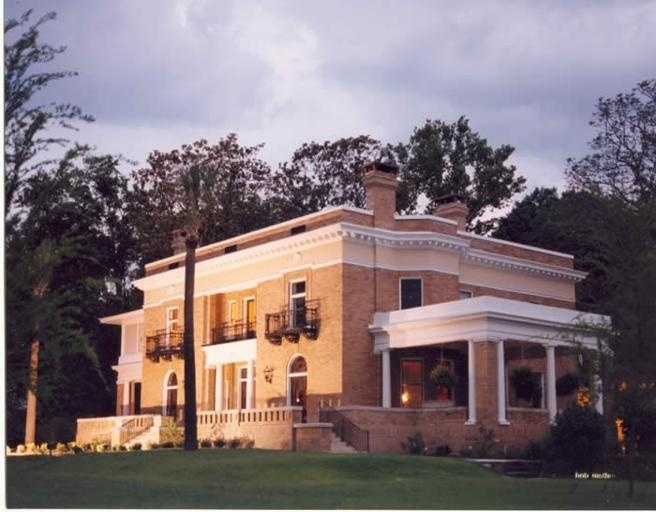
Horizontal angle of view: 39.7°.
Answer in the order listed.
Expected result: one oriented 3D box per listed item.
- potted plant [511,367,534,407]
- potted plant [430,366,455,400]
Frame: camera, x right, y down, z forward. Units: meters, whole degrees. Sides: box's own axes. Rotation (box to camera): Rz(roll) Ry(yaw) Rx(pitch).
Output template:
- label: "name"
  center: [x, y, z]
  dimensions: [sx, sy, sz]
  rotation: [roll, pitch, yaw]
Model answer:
- label: "potted plant"
  center: [9.704, 6.581, 45.637]
  dimensions: [1.364, 2.336, 1.650]
  rotation: [-5, -9, 32]
- label: "potted plant"
  center: [5.514, 6.184, 43.453]
  dimensions: [1.411, 1.996, 1.559]
  rotation: [0, 3, 3]
